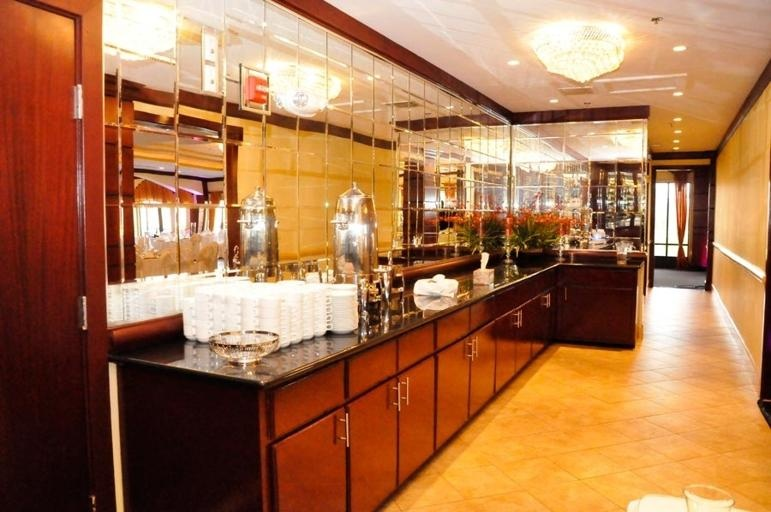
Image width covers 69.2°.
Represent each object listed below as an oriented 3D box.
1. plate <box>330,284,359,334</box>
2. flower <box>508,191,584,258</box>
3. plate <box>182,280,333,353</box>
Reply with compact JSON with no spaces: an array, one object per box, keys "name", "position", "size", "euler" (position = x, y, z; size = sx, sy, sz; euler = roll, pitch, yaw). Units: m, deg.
[{"name":"plate","position":[-0.256,0.314,3.361],"size":[0.160,0.271,0.152],"euler":[0,7,4]},{"name":"flower","position":[2.015,-0.424,7.395],"size":[0.875,0.483,0.843],"euler":[1,4,7]},{"name":"plate","position":[-0.744,0.322,3.217],"size":[0.757,0.309,0.466],"euler":[1,8,13]}]
